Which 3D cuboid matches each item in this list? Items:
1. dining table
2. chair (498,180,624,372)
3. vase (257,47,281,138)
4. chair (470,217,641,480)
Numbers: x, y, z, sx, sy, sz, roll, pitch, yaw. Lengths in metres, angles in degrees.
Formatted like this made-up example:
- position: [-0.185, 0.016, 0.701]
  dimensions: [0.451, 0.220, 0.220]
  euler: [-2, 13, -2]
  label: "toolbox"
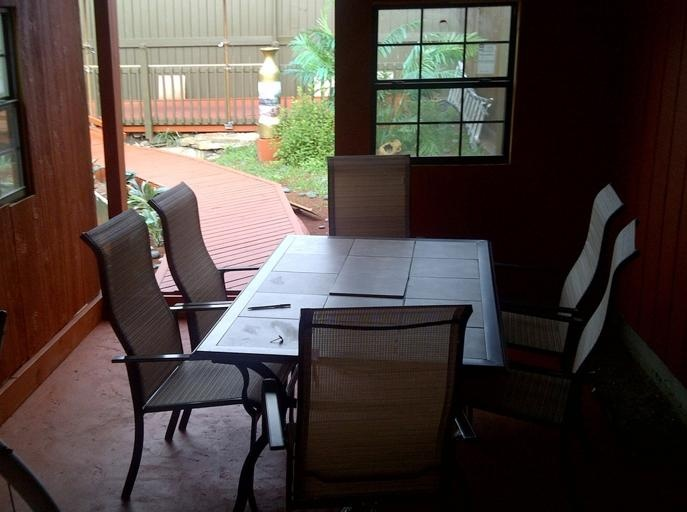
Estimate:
- position: [0.172, 0.360, 3.100]
  dimensions: [1.475, 0.456, 2.135]
  euler: [2, 14, 5]
  label: "dining table"
- position: [1.289, 0.279, 3.545]
  dimensions: [0.712, 0.831, 0.600]
  euler: [26, -6, 22]
  label: "chair"
- position: [-1.511, -3.307, 10.883]
  dimensions: [0.434, 1.771, 0.472]
  euler: [1, 18, 3]
  label: "vase"
- position: [1.020, 0.440, 2.624]
  dimensions: [1.010, 1.147, 0.488]
  euler: [-8, 20, -23]
  label: "chair"
